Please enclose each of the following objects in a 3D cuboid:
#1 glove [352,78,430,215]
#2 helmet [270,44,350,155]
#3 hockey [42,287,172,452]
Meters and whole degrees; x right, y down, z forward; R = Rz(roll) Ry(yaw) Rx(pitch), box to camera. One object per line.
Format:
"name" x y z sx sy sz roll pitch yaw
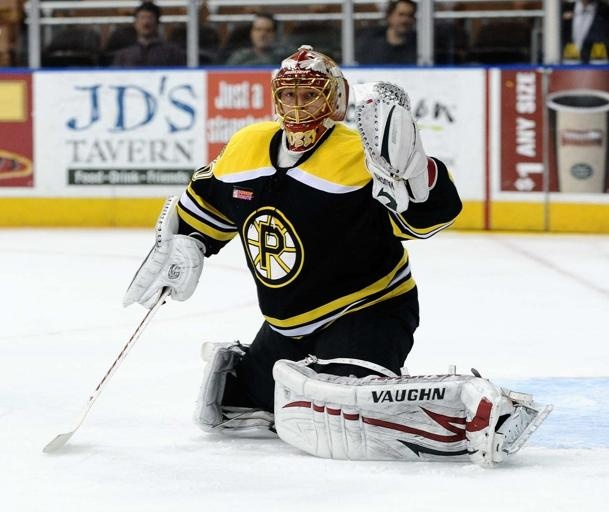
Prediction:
"glove" 0.251 -0.315 2.862 0.249 0.352 0.163 -17 11 17
"helmet" 0.015 -0.517 3.183 0.251 0.276 0.325 5 20 18
"hockey" -0.746 0.440 3.813 0.074 0.621 0.090 46 -43 -18
